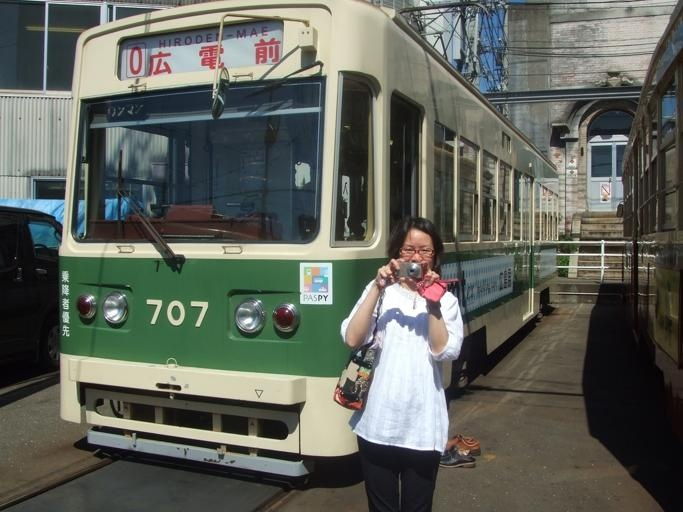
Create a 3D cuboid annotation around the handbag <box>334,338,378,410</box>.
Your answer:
[{"bbox_3d":[0.085,0.669,3.385,0.230,0.378,0.102,1,2,2],"label":"handbag"}]

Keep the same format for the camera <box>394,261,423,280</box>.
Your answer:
[{"bbox_3d":[0.395,0.085,3.375,0.146,0.099,0.061,1,2,3],"label":"camera"}]
